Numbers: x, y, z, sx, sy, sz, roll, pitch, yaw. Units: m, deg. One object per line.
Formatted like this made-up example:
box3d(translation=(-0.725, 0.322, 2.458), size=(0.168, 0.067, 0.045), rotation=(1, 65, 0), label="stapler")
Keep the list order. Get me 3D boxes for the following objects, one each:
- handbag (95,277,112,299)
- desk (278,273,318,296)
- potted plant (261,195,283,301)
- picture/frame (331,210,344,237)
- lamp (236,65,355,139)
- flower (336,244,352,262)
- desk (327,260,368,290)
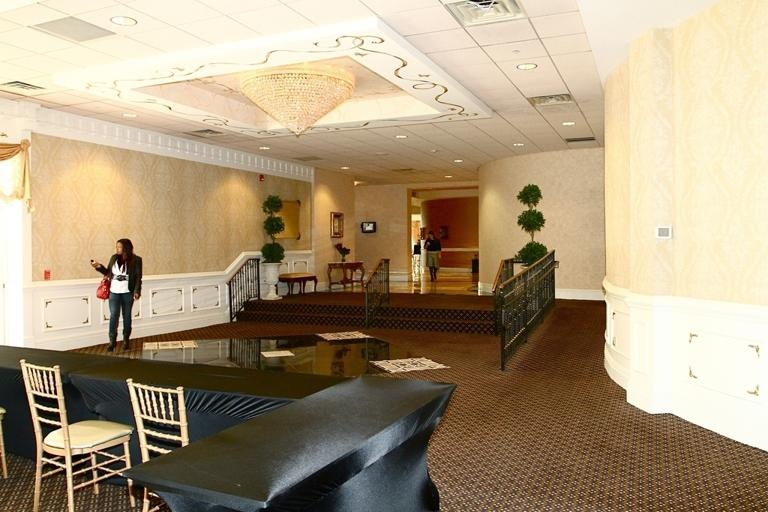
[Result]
box3d(translation=(-5.273, 0.608, 8.729), size=(0.208, 0.477, 0.455), rotation=(-5, 6, -31), label="handbag")
box3d(translation=(-2.426, 0.770, 13.594), size=(0.879, 0.648, 1.646), rotation=(0, 4, 16), label="desk")
box3d(translation=(-3.008, -0.278, 12.557), size=(0.622, 2.784, 1.099), rotation=(-3, 6, -12), label="potted plant")
box3d(translation=(-1.582, -1.092, 15.556), size=(0.136, 0.921, 1.130), rotation=(0, -1, 27), label="picture/frame")
box3d(translation=(-1.463, -2.553, 7.583), size=(1.455, 0.535, 1.231), rotation=(0, -1, -6), label="lamp")
box3d(translation=(-1.412, -0.121, 15.720), size=(0.770, 0.636, 0.598), rotation=(0, -5, -7), label="flower")
box3d(translation=(-1.375, 0.650, 15.970), size=(1.129, 0.958, 1.599), rotation=(3, 4, 29), label="desk")
